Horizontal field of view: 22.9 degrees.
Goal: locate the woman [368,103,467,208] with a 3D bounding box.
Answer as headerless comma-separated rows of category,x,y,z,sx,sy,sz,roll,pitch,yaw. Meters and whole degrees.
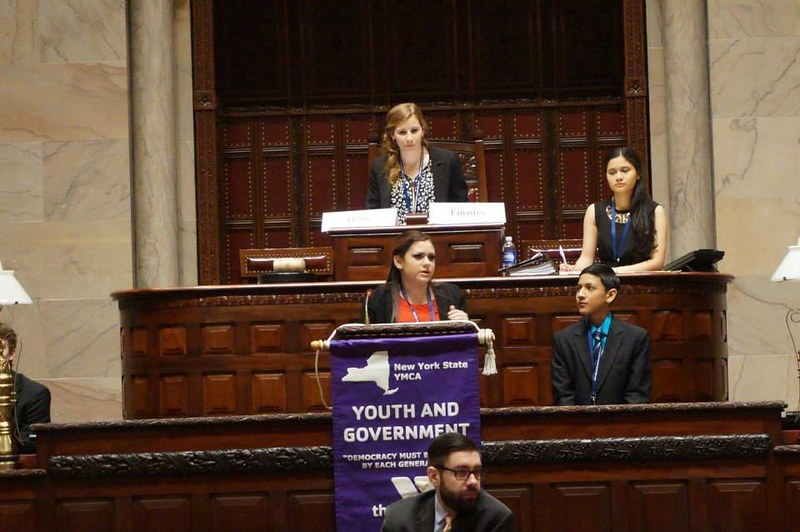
woman,0.167,-1.054,22.317,1.241,1.376,0.799,-5,-1,7

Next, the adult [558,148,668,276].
adult,2.441,-0.603,21.875,0.943,1.381,0.435,-2,1,13

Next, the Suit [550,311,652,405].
Suit,2.249,0.982,20.864,1.146,1.416,0.847,0,-11,8

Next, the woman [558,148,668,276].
woman,2.440,-0.603,21.877,0.946,1.381,0.431,-2,1,13

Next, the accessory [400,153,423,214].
accessory,0.130,-0.871,22.245,0.252,0.756,0.031,-4,-35,9

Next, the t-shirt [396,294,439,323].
t-shirt,0.154,0.498,20.535,0.368,0.454,0.253,-1,-24,-1

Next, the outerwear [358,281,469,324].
outerwear,0.142,0.392,20.542,0.905,0.558,0.479,0,-3,3

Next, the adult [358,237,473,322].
adult,0.124,0.264,20.640,1.265,1.114,0.780,-1,-6,-9

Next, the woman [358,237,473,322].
woman,0.137,0.263,20.598,1.248,1.102,0.828,-1,-6,-15

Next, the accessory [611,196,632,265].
accessory,2.429,-0.347,21.899,0.242,0.674,0.048,3,-6,26
